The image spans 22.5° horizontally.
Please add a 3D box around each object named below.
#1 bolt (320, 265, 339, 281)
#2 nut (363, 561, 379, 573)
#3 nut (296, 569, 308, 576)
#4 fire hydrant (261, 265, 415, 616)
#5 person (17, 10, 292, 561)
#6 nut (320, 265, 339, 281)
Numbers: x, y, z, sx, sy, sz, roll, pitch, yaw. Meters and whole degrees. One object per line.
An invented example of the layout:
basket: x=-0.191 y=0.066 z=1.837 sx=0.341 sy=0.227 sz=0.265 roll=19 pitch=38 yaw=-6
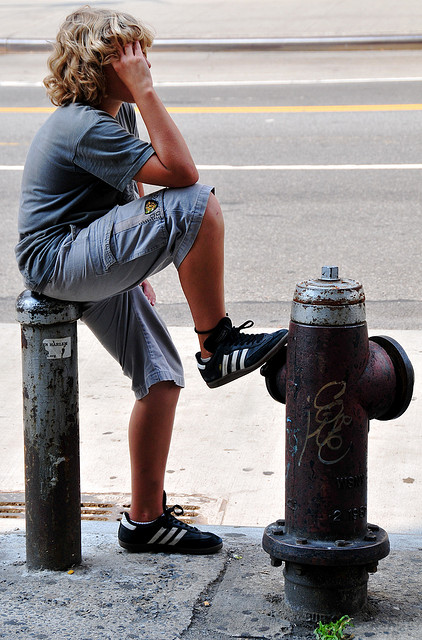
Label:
bolt: x=0.319 y=-0.125 z=2.830 sx=0.048 sy=0.037 sz=0.047 roll=2 pitch=14 yaw=6
nut: x=0.437 y=0.670 z=2.889 sx=0.041 sy=0.036 sz=0.038 roll=-3 pitch=-11 yaw=2
nut: x=0.249 y=0.684 z=2.871 sx=0.036 sy=0.020 sz=0.018 roll=0 pitch=5 yaw=8
fire hydrant: x=0.376 y=0.323 z=2.893 sx=0.426 sy=0.939 sz=0.293 roll=-9 pitch=17 yaw=-29
person: x=-0.232 y=-0.082 z=3.278 sx=0.589 sy=1.709 sz=0.667 roll=-11 pitch=18 yaw=-35
nut: x=0.319 y=-0.125 z=2.830 sx=0.048 sy=0.037 sz=0.047 roll=2 pitch=14 yaw=6
